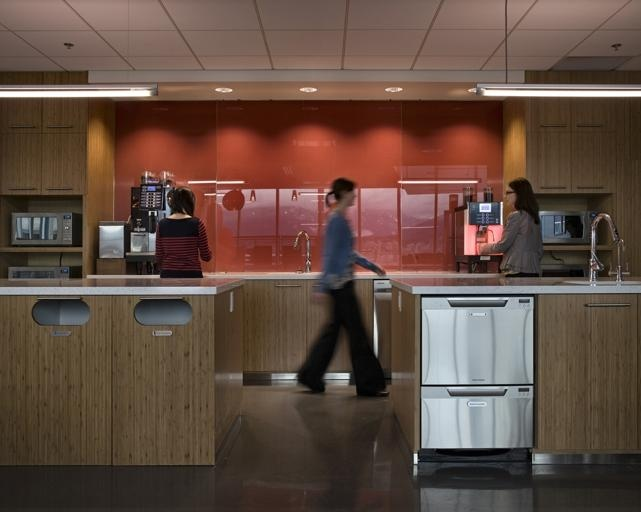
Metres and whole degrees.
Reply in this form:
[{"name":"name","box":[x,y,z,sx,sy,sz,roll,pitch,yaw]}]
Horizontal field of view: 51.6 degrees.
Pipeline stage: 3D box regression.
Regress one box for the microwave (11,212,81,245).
[{"name":"microwave","box":[-2.850,-0.278,6.949,0.544,0.261,0.385,0,-2,2]}]

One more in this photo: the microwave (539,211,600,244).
[{"name":"microwave","box":[2.516,-0.296,6.855,0.630,0.376,0.386,0,-1,-1]}]

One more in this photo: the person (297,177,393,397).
[{"name":"person","box":[0.215,0.299,5.631,0.662,1.889,0.589,-3,8,-28]}]

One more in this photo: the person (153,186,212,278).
[{"name":"person","box":[-1.102,-0.183,5.277,0.425,0.723,0.312,-1,7,-11]}]

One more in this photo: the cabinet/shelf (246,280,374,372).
[{"name":"cabinet/shelf","box":[-0.111,0.663,6.819,1.601,1.111,0.835,0,-4,1]}]

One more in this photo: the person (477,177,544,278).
[{"name":"person","box":[1.617,-0.236,5.581,0.473,0.826,0.232,2,7,14]}]
